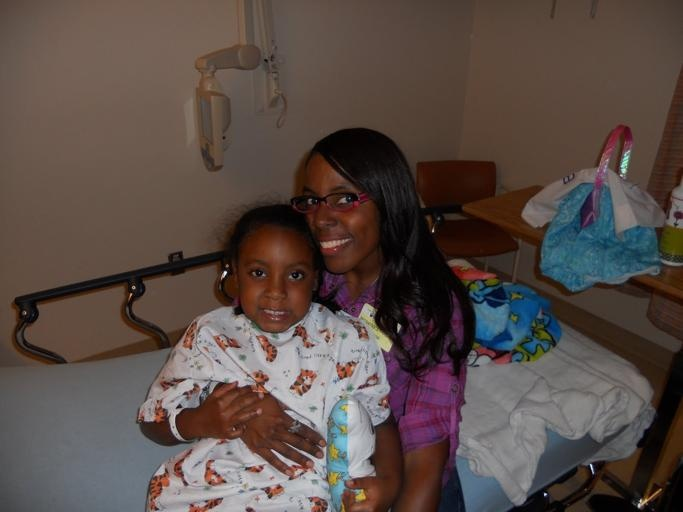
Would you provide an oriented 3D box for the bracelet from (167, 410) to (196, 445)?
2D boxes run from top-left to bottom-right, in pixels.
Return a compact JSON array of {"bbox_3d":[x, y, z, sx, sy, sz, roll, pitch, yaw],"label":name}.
[{"bbox_3d":[-0.533,0.556,1.812,0.037,0.101,0.101,-9,-33,13],"label":"bracelet"}]

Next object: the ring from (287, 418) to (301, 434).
[{"bbox_3d":[-0.152,0.550,1.771,0.035,0.051,0.016,-16,-6,-29],"label":"ring"}]
